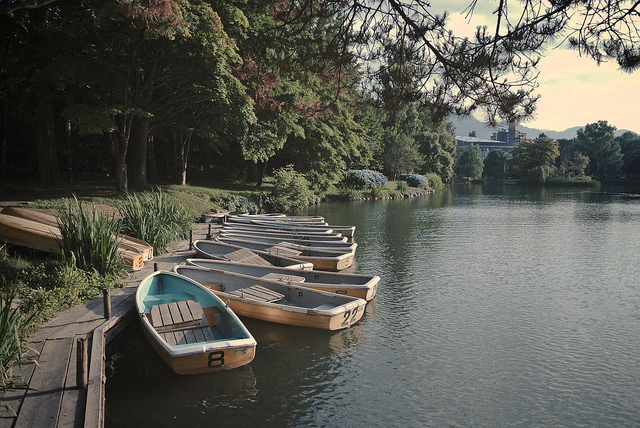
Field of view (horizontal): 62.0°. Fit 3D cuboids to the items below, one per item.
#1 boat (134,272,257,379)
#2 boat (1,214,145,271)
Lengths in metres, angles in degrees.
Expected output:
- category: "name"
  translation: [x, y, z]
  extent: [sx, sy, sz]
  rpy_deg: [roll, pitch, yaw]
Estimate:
- category: "boat"
  translation: [-3.074, 2.589, 12.516]
  extent: [1.983, 1.996, 3.211]
  rpy_deg: [-4, 4, -37]
- category: "boat"
  translation: [-6.945, 0.826, 14.605]
  extent: [3.186, 0.661, 0.403]
  rpy_deg: [19, -42, -12]
